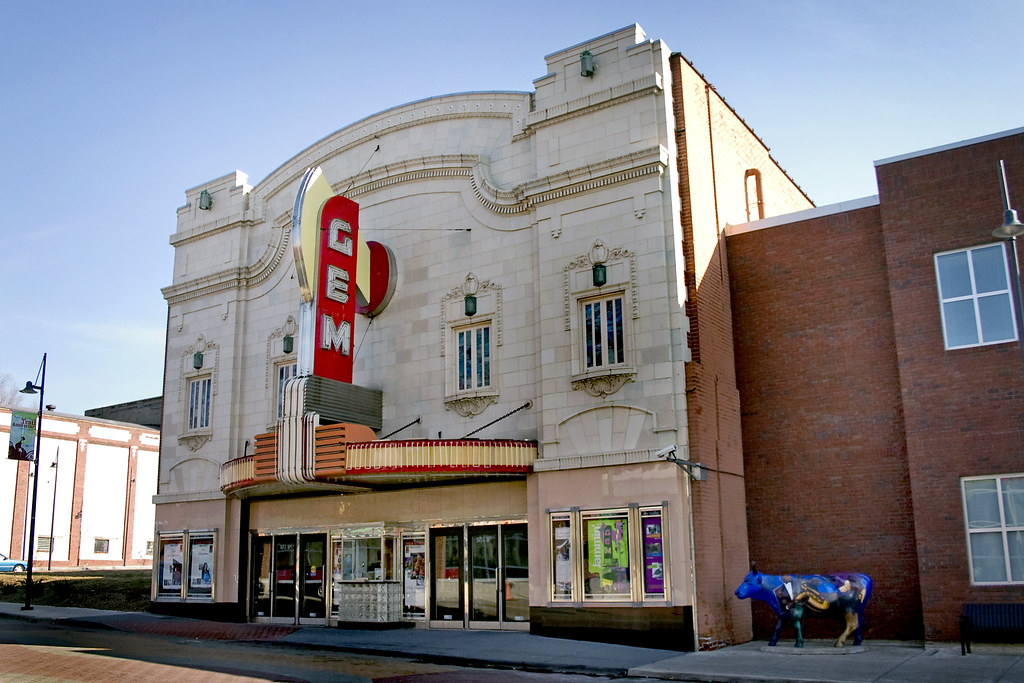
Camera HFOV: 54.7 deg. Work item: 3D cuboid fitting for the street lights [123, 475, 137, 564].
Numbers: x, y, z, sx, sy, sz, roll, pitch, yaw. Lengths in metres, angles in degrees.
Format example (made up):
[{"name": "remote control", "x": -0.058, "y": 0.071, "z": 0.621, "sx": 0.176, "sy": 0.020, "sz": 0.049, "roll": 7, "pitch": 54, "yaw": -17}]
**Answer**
[{"name": "street lights", "x": -27.478, "y": 12.782, "z": 71.351, "sx": 0.799, "sy": 6.521, "sz": 0.600, "roll": 11, "pitch": -22, "yaw": -39}]
